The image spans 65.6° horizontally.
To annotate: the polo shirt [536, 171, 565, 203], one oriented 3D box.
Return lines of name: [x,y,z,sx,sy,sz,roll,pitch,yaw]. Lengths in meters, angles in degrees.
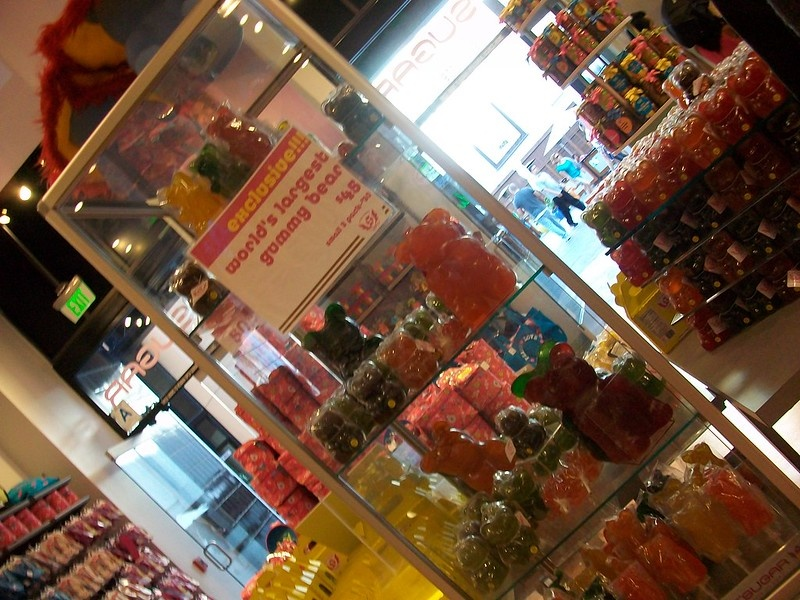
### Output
polo shirt: [0.861,-0.656,3.590,0.108,0.184,0.066,-44,-8,-4]

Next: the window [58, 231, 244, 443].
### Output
window: [-1.591,0.246,3.715,1.078,1.149,0.049,-46,6,6]
